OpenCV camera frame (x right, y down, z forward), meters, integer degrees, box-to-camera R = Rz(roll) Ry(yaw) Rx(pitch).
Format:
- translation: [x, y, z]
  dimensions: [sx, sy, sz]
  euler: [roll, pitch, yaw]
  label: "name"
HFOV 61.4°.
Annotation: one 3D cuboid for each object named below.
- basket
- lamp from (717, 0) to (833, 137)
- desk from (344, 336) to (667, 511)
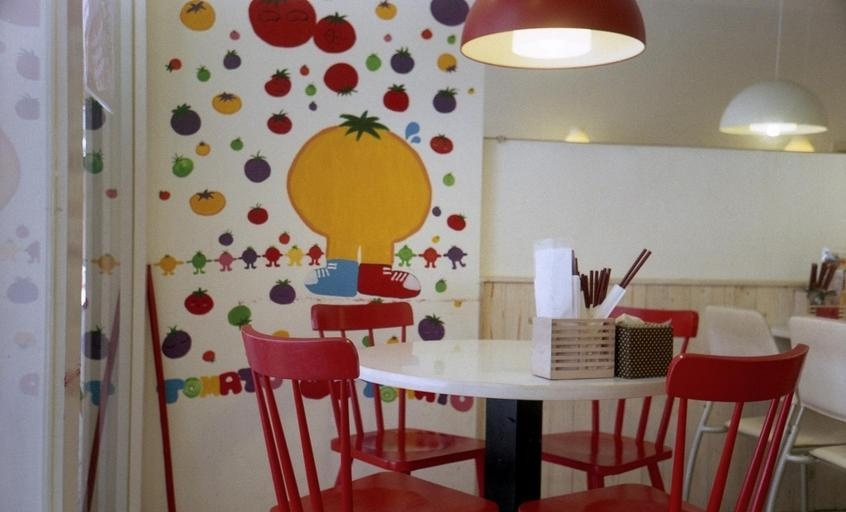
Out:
- translation: [0.658, 0.407, 3.094]
  dimensions: [0.390, 0.327, 0.238]
  euler: [0, -3, 1]
  label: "basket"
- translation: [2.279, -1.209, 4.596]
  dimensions: [0.752, 0.877, 0.178]
  euler: [-1, 4, -17]
  label: "lamp"
- translation: [0.309, 0.665, 3.187]
  dimensions: [0.919, 0.701, 0.891]
  euler: [-1, 2, -45]
  label: "desk"
